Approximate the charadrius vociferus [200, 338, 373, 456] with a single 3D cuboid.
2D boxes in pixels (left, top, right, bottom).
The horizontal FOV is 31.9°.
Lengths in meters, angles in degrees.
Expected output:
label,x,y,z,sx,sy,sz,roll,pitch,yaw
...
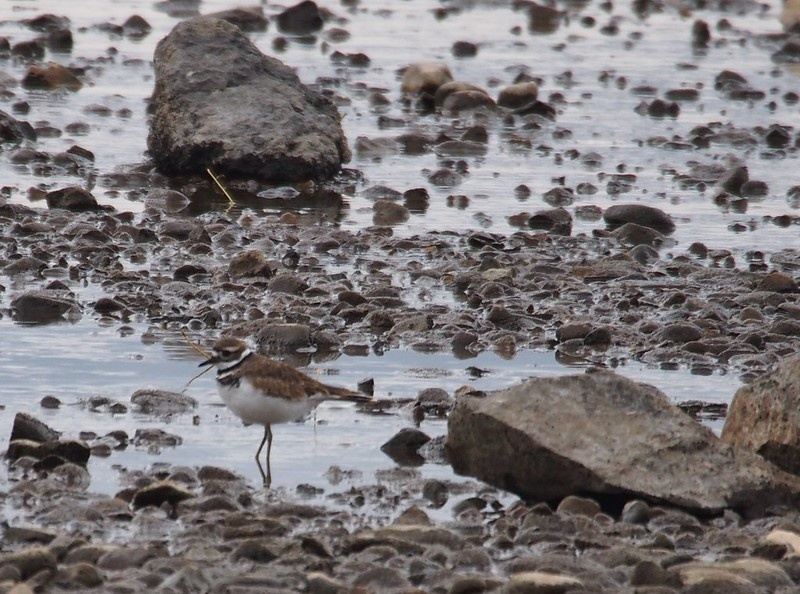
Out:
label,x,y,z,sx,sy,sz,roll,pitch,yaw
charadrius vociferus,-0.928,0.755,10.449,1.031,0.855,0.491,3,12,-6
